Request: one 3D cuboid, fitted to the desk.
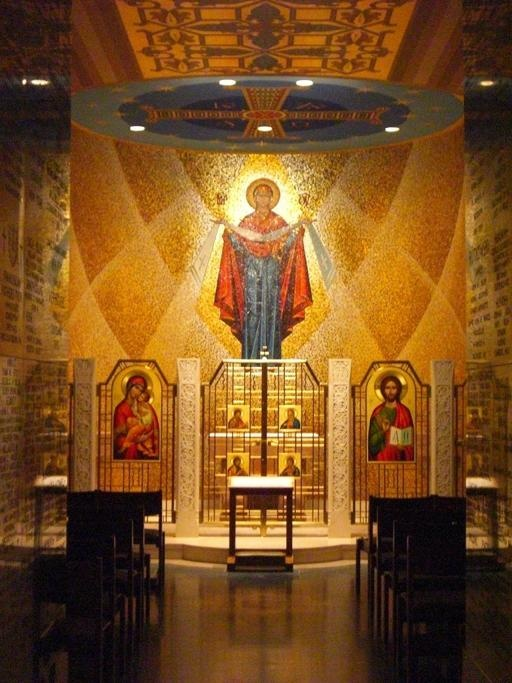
[{"bbox_3d":[0.100,2.225,7.356,0.829,1.323,0.901,0,-3,0],"label":"desk"}]
